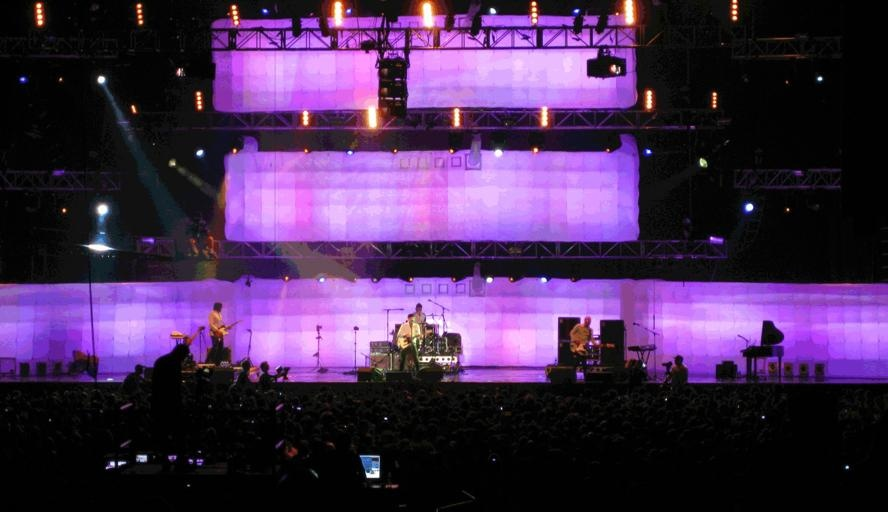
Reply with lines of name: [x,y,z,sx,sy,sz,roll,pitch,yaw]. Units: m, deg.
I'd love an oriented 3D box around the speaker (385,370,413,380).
speaker: [-1.744,4.670,57.830,0.538,0.503,0.179,-1,84,7]

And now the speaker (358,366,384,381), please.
speaker: [-2.830,4.597,57.611,0.675,0.638,0.429,-1,93,42]

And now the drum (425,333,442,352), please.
drum: [-0.416,3.527,60.111,0.855,0.751,0.730,1,84,3]
